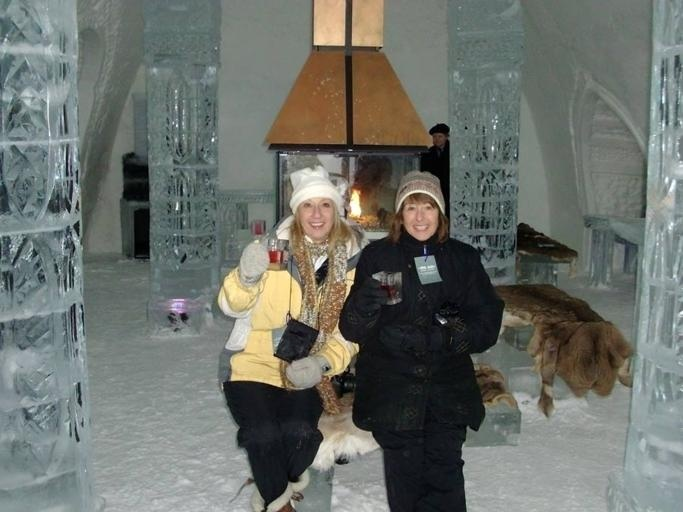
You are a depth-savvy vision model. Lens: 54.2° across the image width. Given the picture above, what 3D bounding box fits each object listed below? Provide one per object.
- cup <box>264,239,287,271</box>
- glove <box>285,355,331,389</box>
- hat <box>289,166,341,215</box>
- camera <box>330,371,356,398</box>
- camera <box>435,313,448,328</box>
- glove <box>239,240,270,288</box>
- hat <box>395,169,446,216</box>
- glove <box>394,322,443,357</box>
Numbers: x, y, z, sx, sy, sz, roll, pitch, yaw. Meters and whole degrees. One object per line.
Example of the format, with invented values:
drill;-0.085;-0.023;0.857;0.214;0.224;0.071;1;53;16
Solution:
cup;-0.278;-0.011;2.878;0.114;0.132;0.116;-2;1;0
glove;-0.141;0.486;2.800;0.159;0.123;0.071;-7;-13;15
hat;-0.126;-0.309;3.034;0.183;0.128;0.226;-2;-11;0
camera;0.008;0.628;3.230;0.098;0.102;0.183;-9;-2;-6
camera;0.406;0.261;2.713;0.029;0.014;0.053;-26;47;-8
glove;-0.372;0.054;2.841;0.139;0.190;0.065;-35;-11;36
hat;0.341;-0.257;2.922;0.220;0.214;0.217;0;1;-1
glove;0.325;0.325;2.664;0.176;0.092;0.070;2;11;10
